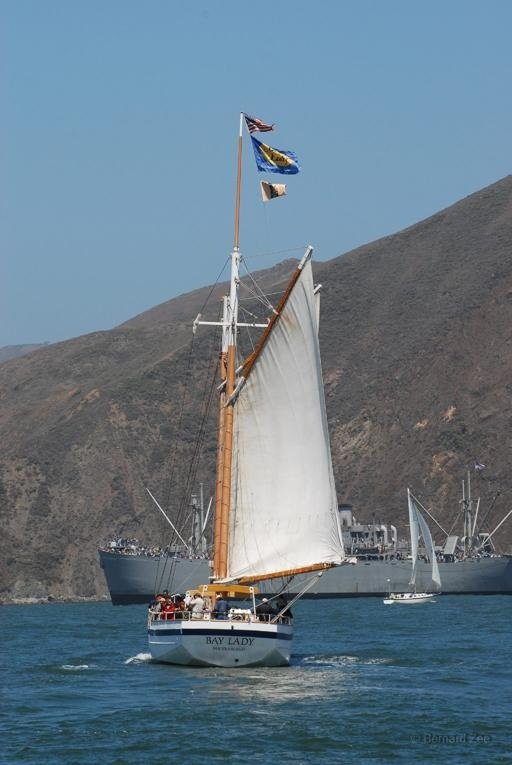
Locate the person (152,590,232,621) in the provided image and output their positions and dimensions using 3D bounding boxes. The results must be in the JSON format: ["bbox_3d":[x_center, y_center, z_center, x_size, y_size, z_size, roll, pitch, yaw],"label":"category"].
[{"bbox_3d":[-2.065,6.683,41.646,1.203,0.701,1.700,5,-15,-19],"label":"person"}]
